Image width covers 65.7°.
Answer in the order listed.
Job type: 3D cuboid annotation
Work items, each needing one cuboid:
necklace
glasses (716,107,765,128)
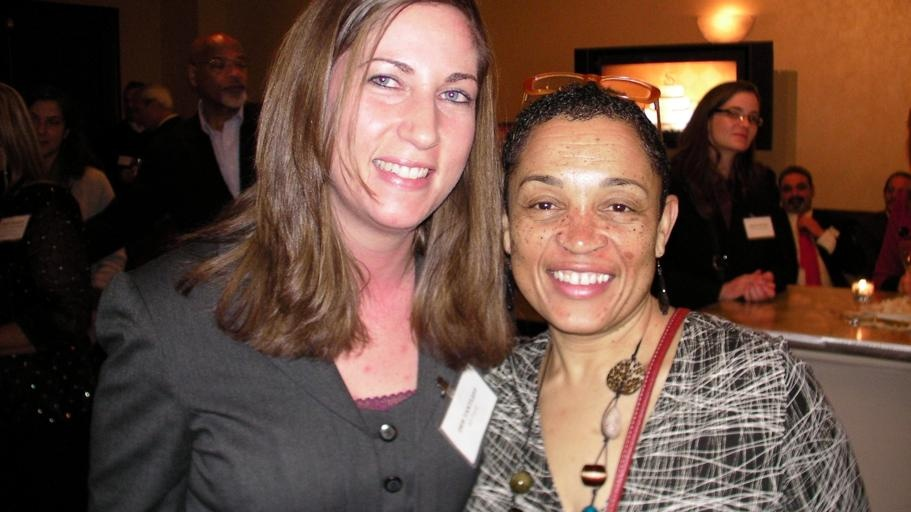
[{"bbox_3d":[0.641,0.863,3.677,0.643,0.820,0.452,2,10,16],"label":"necklace"},{"bbox_3d":[2.418,-1.195,6.018,0.214,0.073,0.243,6,12,-25],"label":"glasses"}]
